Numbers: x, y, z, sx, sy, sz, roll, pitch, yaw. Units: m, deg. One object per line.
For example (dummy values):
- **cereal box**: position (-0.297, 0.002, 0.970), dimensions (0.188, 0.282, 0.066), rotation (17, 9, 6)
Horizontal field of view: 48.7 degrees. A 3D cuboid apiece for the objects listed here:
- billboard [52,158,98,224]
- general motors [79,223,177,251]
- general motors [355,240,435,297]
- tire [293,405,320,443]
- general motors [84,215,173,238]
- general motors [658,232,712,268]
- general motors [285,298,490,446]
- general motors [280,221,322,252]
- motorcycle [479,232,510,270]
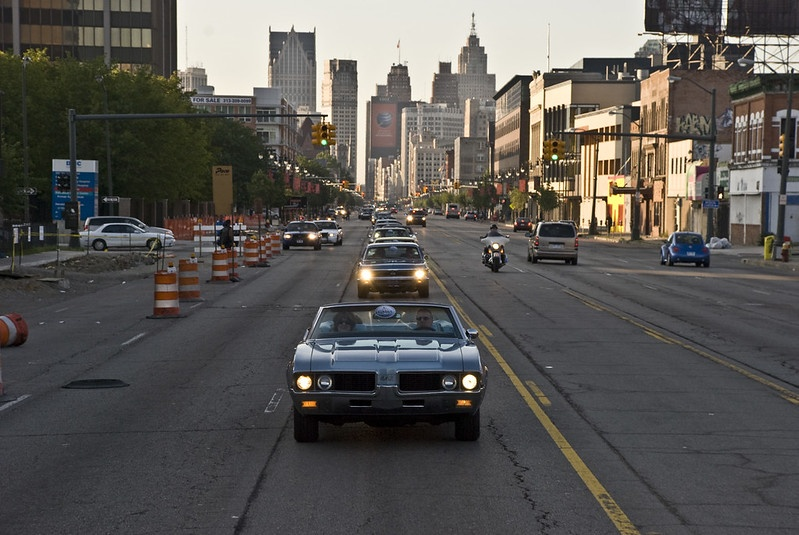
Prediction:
- **billboard**: position (-20.498, -5.297, 55.460), dimensions (2.676, 3.712, 2.029), rotation (-5, 30, -31)
- **general motors**: position (-17.419, -1.900, 56.119), dimensions (5.833, 1.847, 2.600), rotation (-3, 3, -13)
- **general motors**: position (-0.180, 0.093, 27.047), dimensions (2.102, 1.666, 1.353), rotation (1, 3, -4)
- **tire**: position (-1.218, 2.047, 11.620), dimensions (0.277, 0.837, 0.545), rotation (-1, 2, 0)
- **general motors**: position (-17.758, -2.282, 57.358), dimensions (4.435, 1.591, 2.067), rotation (-2, 4, -13)
- **general motors**: position (14.986, -1.035, 46.701), dimensions (1.442, 1.219, 2.596), rotation (1, 5, 4)
- **general motors**: position (-0.152, 1.481, 11.999), dimensions (1.661, 1.131, 2.983), rotation (0, 0, 0)
- **general motors**: position (-6.433, -2.112, 58.281), dimensions (2.380, 1.937, 2.739), rotation (1, 4, -8)
- **motorcycle**: position (4.178, -0.725, 38.835), dimensions (1.048, 1.760, 1.593), rotation (2, 3, 2)
